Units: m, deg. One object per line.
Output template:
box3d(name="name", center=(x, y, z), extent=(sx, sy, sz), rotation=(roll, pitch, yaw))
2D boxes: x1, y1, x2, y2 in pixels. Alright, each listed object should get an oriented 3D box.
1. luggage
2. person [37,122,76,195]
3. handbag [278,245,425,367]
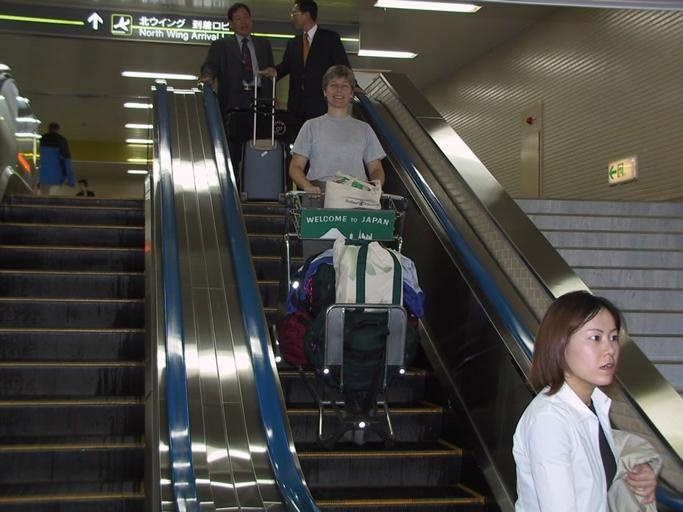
box3d(name="luggage", center=(-0.891, -0.965, 6.590), extent=(0.552, 0.828, 0.311), rotation=(0, -12, -9))
box3d(name="person", center=(-5.224, -1.779, 10.450), extent=(0.539, 1.247, 0.911), rotation=(-6, 17, -26))
box3d(name="handbag", center=(0.047, 0.292, 3.255), extent=(0.749, 0.738, 0.406), rotation=(3, -4, -3))
